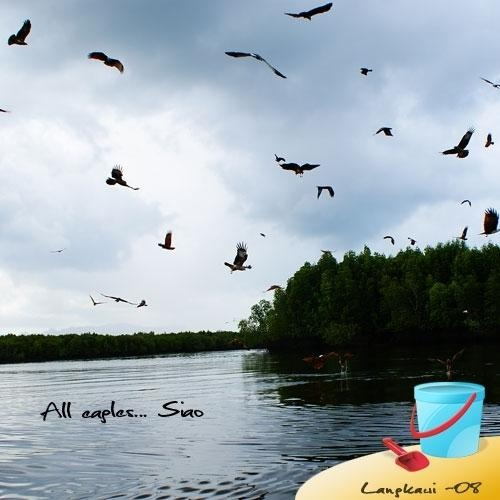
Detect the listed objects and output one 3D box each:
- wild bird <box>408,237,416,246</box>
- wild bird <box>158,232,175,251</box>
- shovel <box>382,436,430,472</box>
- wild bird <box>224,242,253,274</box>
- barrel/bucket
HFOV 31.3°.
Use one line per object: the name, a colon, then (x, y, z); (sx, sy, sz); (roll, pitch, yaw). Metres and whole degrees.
wild bird: (6.449, -0.313, 35.789); (0.229, 0.353, 0.166); (-13, -51, -13)
wild bird: (-2.396, -0.183, 25.668); (0.448, 0.115, 0.778); (8, -52, -4)
shovel: (3.582, 4.734, 20.602); (0.988, 0.708, 0.386); (-1, -9, 7)
wild bird: (-0.370, 0.386, 28.260); (0.613, 0.370, 1.208); (11, -48, 11)
barrel/bucket: (4.629, 4.035, 21.242); (1.775, 1.505, 1.869); (-2, 1, 0)
